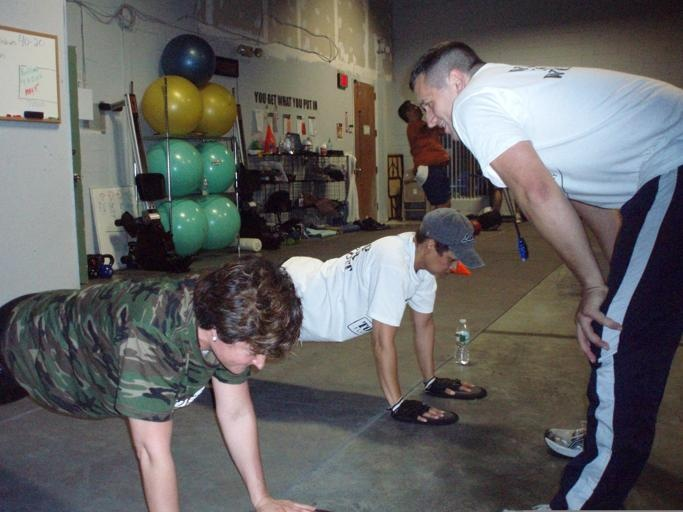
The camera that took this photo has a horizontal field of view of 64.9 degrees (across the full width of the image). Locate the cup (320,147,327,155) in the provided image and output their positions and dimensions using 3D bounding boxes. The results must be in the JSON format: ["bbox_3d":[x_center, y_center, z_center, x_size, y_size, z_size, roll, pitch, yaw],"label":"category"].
[{"bbox_3d":[-0.346,-1.964,10.062,0.191,0.149,0.255,0,11,-7],"label":"cup"}]

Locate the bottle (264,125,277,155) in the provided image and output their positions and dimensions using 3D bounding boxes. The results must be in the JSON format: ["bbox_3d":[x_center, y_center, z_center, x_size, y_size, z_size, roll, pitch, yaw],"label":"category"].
[{"bbox_3d":[-1.212,-1.950,8.931,0.201,0.472,0.607,-2,9,-7],"label":"bottle"}]

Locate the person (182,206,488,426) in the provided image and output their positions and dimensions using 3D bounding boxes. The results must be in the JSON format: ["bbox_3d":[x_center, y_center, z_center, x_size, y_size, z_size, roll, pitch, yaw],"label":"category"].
[{"bbox_3d":[-0.048,0.203,2.839,1.450,0.999,0.579,8,12,35],"label":"person"}]
